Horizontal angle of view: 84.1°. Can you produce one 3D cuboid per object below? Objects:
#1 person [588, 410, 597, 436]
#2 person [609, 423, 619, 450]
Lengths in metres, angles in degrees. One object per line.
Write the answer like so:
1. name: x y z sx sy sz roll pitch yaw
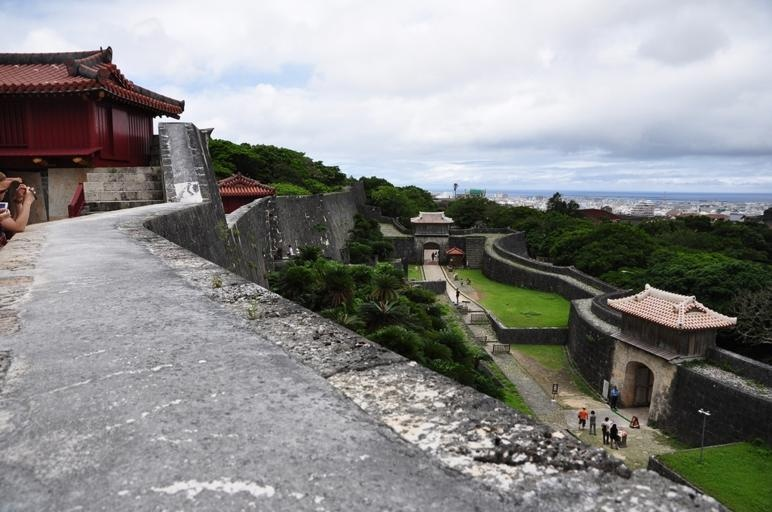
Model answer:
1. person: 7.242 5.770 14.886 0.201 0.921 0.688 5 12 25
2. person: 7.502 5.813 13.947 0.306 0.789 0.786 5 12 28
